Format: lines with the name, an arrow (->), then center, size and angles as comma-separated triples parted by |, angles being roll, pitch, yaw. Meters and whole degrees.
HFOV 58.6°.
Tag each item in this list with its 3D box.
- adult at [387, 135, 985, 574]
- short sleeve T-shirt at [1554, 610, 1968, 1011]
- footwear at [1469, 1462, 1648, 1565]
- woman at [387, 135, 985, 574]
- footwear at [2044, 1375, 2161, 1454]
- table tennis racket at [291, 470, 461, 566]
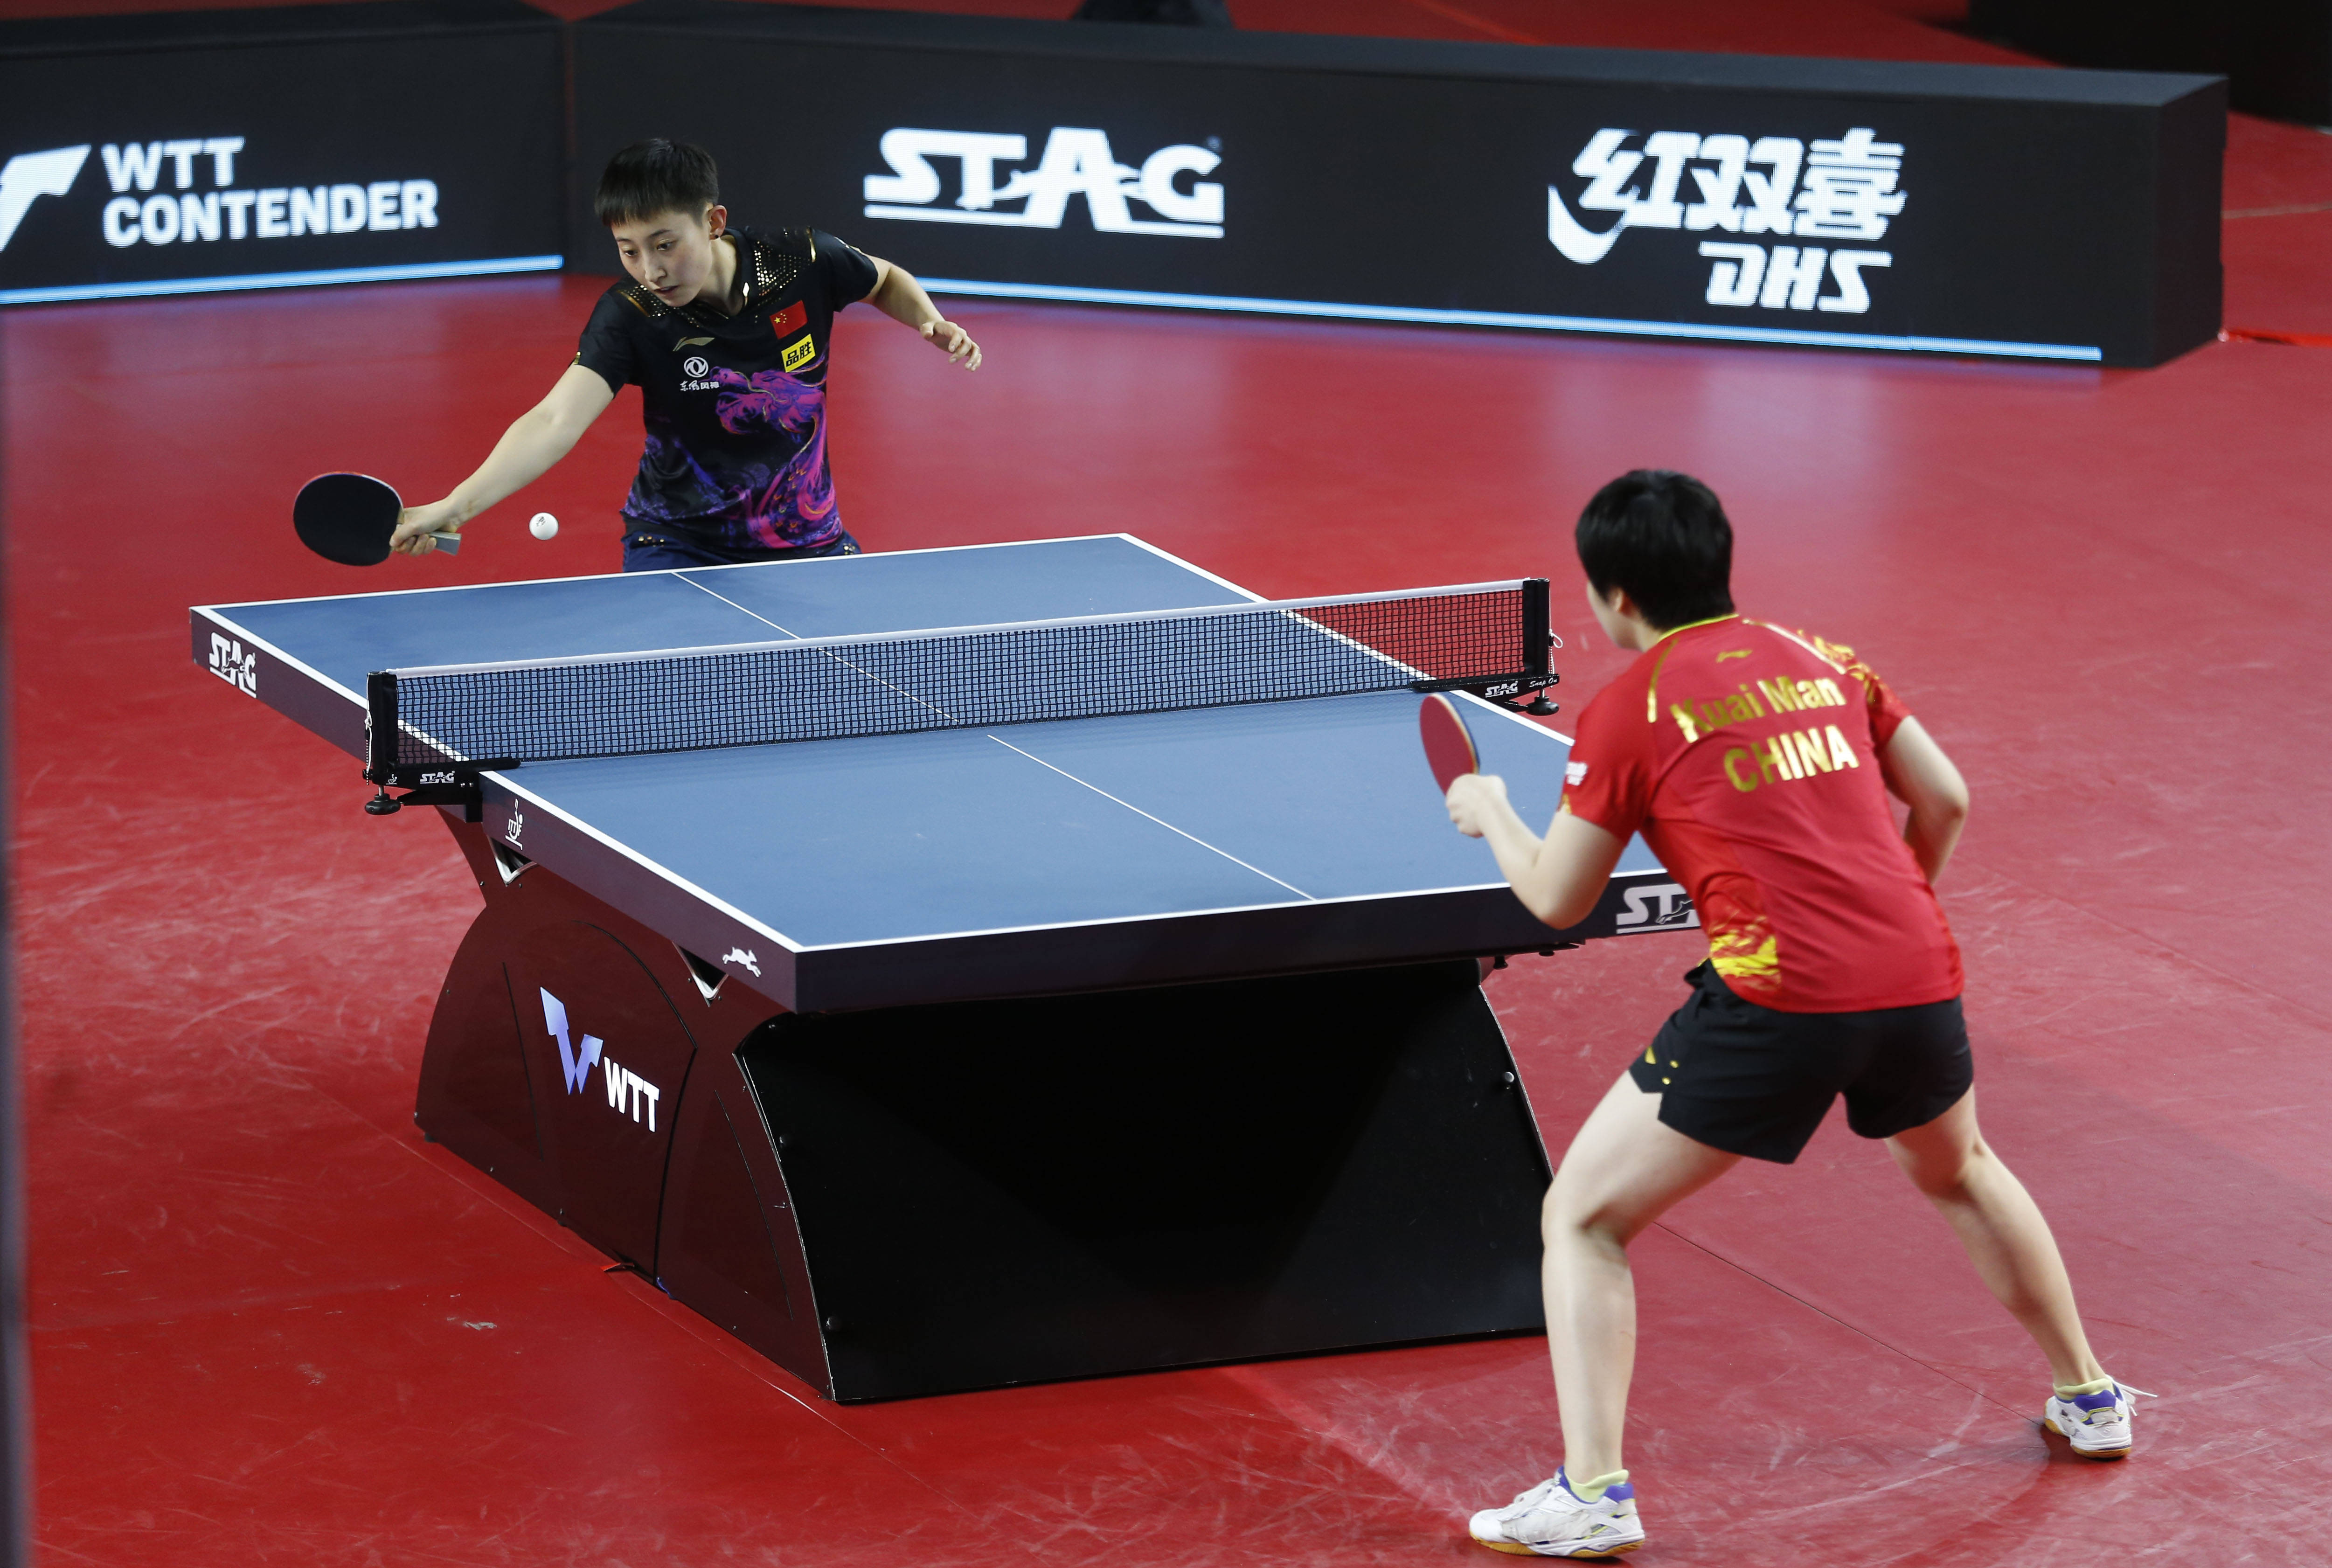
adult -> -1.016, -0.954, 4.814 | 0.898, 1.218, 1.361 | 6, 28, 16
short sleeve T-shirt -> 0.823, 0.055, 2.873 | 0.509, 0.526, 0.277 | -11, 19, -23
footwear -> 0.578, 1.082, 3.116 | 0.289, 0.136, 0.107 | 2, 6, 19
woman -> -0.975, -0.972, 4.800 | 0.702, 0.985, 0.511 | -6, 18, -8
footwear -> 1.483, 1.015, 3.299 | 0.090, 0.086, 0.189 | 1, 9, 17
table tennis racket -> -1.580, -0.527, 4.167 | 0.312, 0.177, 0.112 | 5, 12, -12
